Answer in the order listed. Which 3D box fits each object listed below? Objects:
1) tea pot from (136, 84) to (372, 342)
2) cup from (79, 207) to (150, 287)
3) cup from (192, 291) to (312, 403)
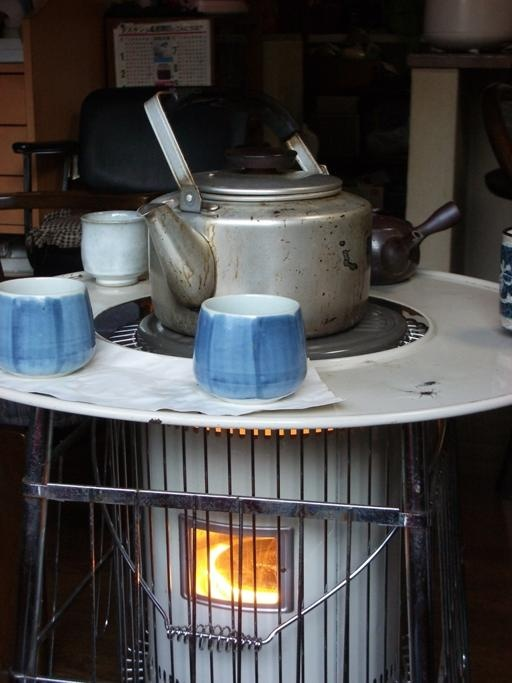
[{"bbox_3d":[0.008,-0.131,0.735,0.289,0.232,0.204,-12,18,-41],"label":"tea pot"},{"bbox_3d":[-0.189,-0.128,1.012,0.111,0.109,0.106,0,8,0],"label":"cup"},{"bbox_3d":[0.002,0.005,0.613,0.085,0.077,0.099,6,14,26],"label":"cup"}]
